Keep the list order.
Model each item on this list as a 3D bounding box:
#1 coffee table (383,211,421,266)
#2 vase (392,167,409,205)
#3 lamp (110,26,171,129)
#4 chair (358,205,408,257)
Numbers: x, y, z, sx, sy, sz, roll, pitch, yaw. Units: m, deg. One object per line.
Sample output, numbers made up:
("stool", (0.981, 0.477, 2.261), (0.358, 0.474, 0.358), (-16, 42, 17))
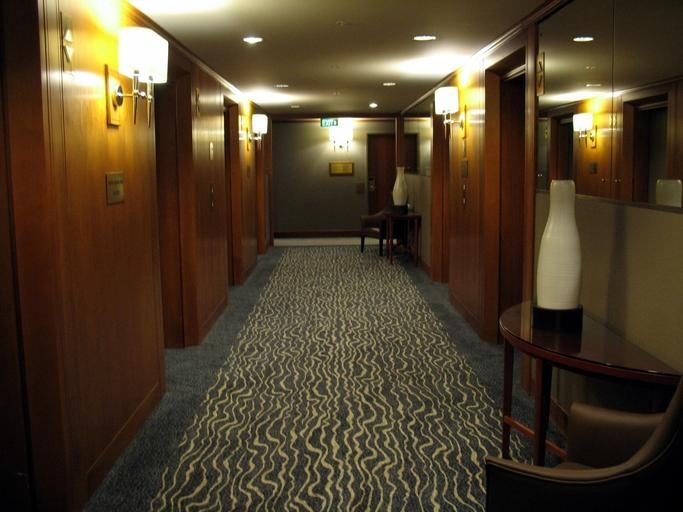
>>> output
("coffee table", (1.083, -0.405, 9.311), (0.598, 0.912, 0.813), (-1, 8, -3))
("vase", (1.048, -1.265, 9.365), (0.257, 0.686, 0.519), (0, 9, 3))
("lamp", (-1.355, -1.201, 3.521), (0.356, 0.607, 0.581), (-4, 10, -18))
("chair", (0.775, -0.562, 9.968), (0.682, 1.057, 0.701), (9, 9, 44))
